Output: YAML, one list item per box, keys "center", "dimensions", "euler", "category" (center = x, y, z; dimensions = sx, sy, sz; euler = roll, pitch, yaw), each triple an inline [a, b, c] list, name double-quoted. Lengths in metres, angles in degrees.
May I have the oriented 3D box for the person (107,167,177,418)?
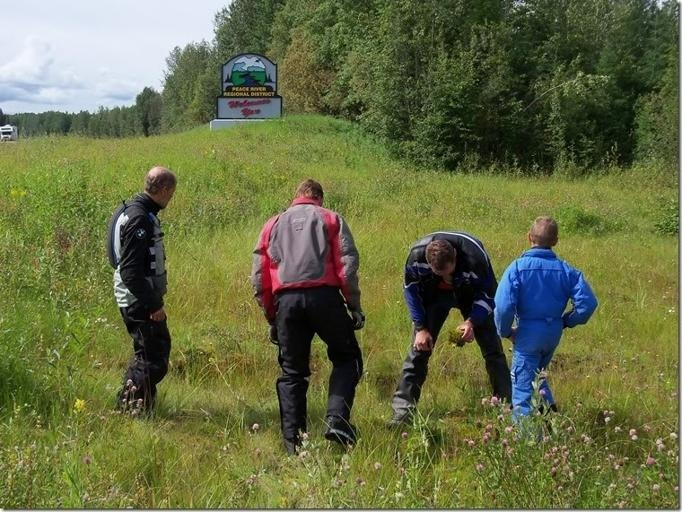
- center: [-2.714, 0.432, 10.132]
  dimensions: [0.831, 3.266, 0.838]
  euler: [1, 6, -12]
  category: "person"

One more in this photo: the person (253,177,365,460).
- center: [-0.427, 0.787, 10.087]
  dimensions: [1.265, 3.963, 1.095]
  euler: [-4, -24, 5]
  category: "person"

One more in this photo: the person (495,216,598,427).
- center: [2.771, 0.965, 10.284]
  dimensions: [1.088, 3.310, 1.096]
  euler: [-4, 19, -2]
  category: "person"
